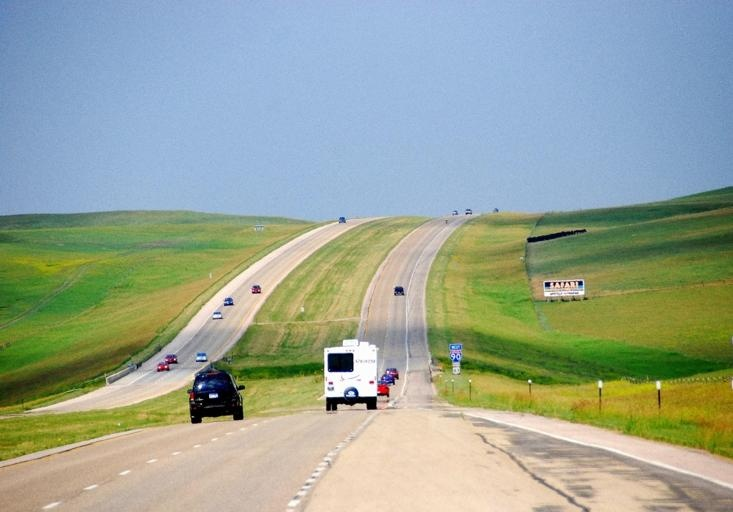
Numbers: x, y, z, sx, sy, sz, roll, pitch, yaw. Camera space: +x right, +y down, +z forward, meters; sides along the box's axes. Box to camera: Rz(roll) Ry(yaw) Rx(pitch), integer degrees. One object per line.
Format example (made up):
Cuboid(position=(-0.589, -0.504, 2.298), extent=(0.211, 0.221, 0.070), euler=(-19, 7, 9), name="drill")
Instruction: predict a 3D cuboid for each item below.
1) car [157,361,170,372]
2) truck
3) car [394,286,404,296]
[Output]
Cuboid(position=(-22.876, 12.512, 88.837), extent=(0.905, 0.680, 1.548), euler=(-1, -4, -4), name="car")
Cuboid(position=(-0.815, 7.119, 48.107), extent=(2.436, 2.847, 4.476), euler=(0, -2, 3), name="truck")
Cuboid(position=(4.829, 5.193, 116.320), extent=(1.382, 1.233, 1.518), euler=(-3, 7, 2), name="car")
